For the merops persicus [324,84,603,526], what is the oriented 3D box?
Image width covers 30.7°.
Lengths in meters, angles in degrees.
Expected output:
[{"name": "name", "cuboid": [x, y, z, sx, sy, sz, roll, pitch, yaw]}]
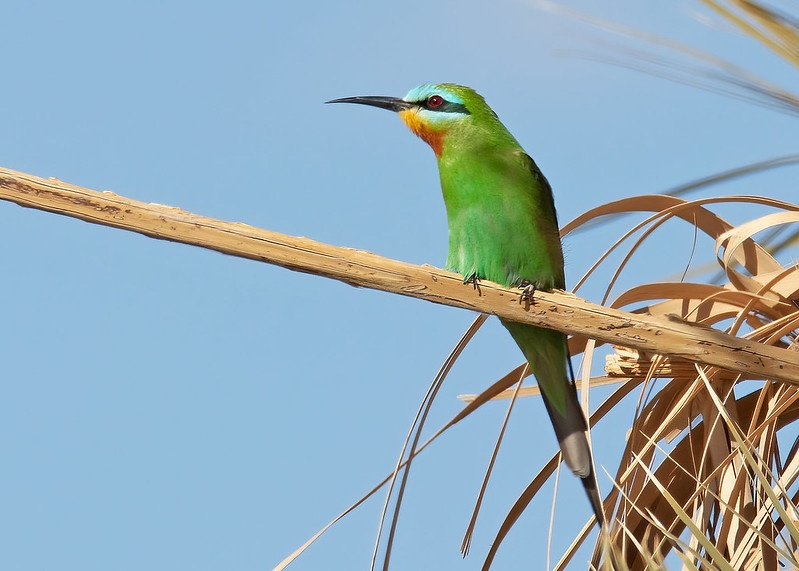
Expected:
[{"name": "merops persicus", "cuboid": [0.369, -0.025, 5.215, 0.760, 1.678, 1.003, -6, -5, 19]}]
